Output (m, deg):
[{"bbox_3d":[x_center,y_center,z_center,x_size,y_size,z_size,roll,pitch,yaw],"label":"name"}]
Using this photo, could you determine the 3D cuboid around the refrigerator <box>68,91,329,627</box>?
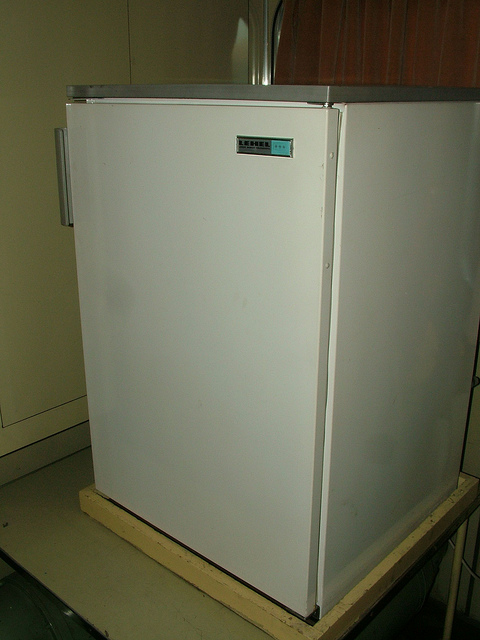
[{"bbox_3d":[0.022,-0.019,1.121,0.527,0.849,0.466,12,21,37],"label":"refrigerator"}]
